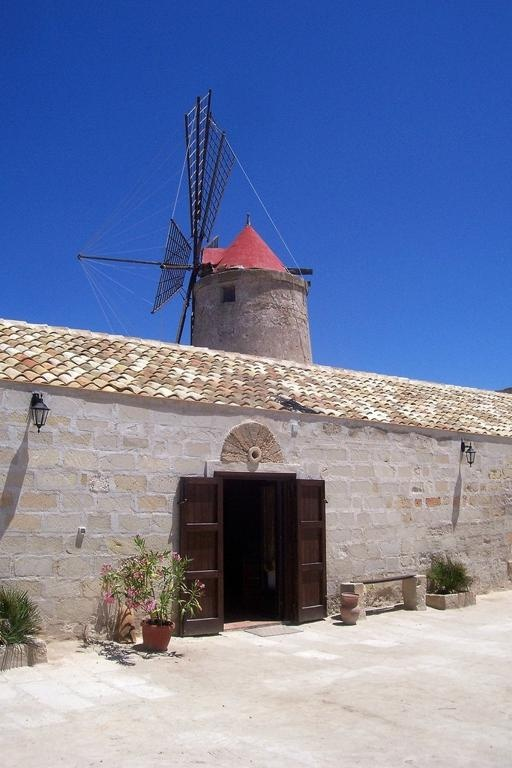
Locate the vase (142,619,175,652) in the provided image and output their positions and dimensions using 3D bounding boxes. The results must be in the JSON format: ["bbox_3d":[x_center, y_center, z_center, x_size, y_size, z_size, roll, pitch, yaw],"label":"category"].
[{"bbox_3d":[-0.975,2.469,6.646,0.291,0.197,0.284,6,-14,-18],"label":"vase"}]

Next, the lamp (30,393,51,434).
[{"bbox_3d":[-2.186,0.287,6.783,0.199,0.394,0.283,5,-12,-18],"label":"lamp"}]

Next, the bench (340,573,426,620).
[{"bbox_3d":[1.907,2.997,9.615,2.008,0.489,0.488,12,-15,-43],"label":"bench"}]

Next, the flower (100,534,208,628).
[{"bbox_3d":[-1.076,2.040,7.208,1.106,1.087,0.967,12,-27,-20],"label":"flower"}]

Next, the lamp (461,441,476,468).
[{"bbox_3d":[3.645,1.189,11.429,0.162,0.413,0.413,-7,-14,35],"label":"lamp"}]

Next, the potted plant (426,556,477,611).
[{"bbox_3d":[3.000,3.025,10.484,0.890,0.901,0.694,11,-17,-37],"label":"potted plant"}]
